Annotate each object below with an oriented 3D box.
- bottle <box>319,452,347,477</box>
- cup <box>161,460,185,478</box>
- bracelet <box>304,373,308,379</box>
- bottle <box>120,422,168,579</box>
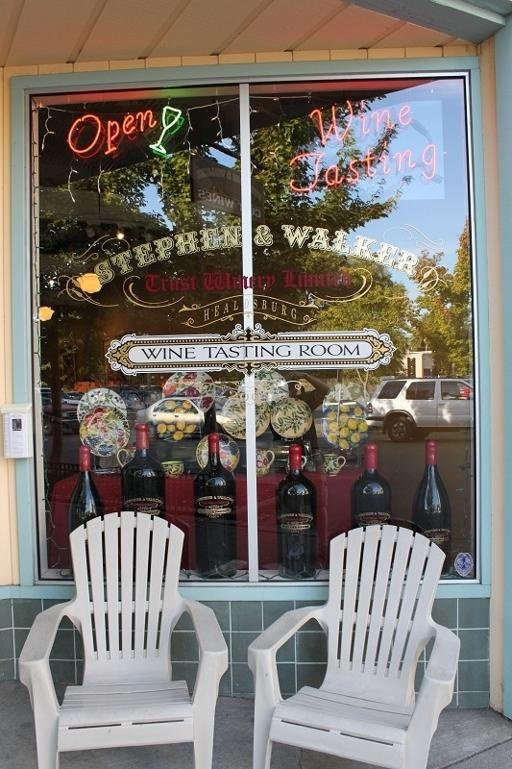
[{"bbox_3d":[0.315,0.334,3.021,0.120,0.097,0.073,1,-8,-11],"label":"bottle"},{"bbox_3d":[-0.357,0.366,3.068,0.080,0.053,0.078,-1,-8,0],"label":"cup"},{"bbox_3d":[0.216,-0.037,3.046,0.020,0.027,0.004,-1,4,0],"label":"bracelet"},{"bbox_3d":[-0.490,0.404,3.121,0.196,0.472,0.187,-1,10,0],"label":"bottle"}]
